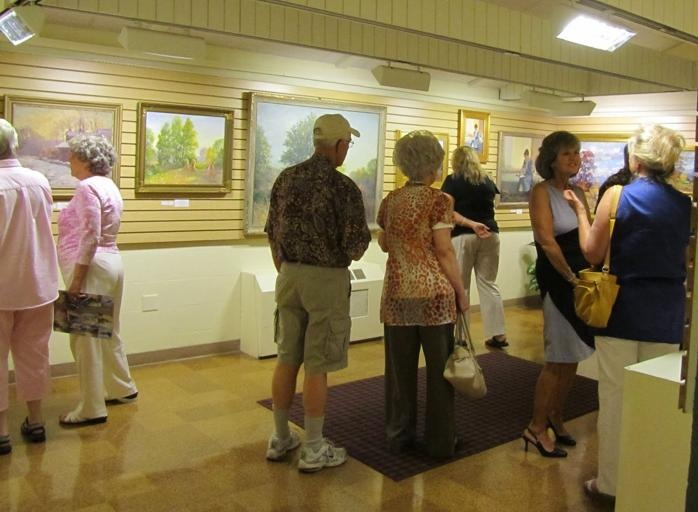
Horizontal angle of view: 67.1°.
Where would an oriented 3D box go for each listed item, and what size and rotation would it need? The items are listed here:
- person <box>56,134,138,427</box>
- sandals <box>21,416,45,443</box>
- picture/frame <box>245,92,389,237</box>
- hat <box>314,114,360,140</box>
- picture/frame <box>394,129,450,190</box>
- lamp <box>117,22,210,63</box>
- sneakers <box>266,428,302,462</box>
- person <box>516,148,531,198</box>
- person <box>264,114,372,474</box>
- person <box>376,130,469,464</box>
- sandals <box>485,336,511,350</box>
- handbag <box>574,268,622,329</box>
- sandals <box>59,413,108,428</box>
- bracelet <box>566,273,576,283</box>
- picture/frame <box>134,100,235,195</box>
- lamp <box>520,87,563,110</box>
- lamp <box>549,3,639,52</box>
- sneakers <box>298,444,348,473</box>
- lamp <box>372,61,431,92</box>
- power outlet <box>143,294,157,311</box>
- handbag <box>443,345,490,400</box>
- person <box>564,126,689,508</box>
[{"bbox_3d":[-1.973,0.170,4.028,0.504,2.168,0.532,-1,7,-15],"label":"person"},{"bbox_3d":[-2.251,1.226,3.730,0.099,0.113,0.268,1,4,-31],"label":"sandals"},{"bbox_3d":[-0.377,-1.022,5.968,1.652,1.557,0.050,0,3,-19],"label":"picture/frame"},{"bbox_3d":[-0.073,-0.813,3.397,0.233,0.121,0.175,-11,23,-25],"label":"hat"},{"bbox_3d":[0.993,-1.341,6.908,0.608,0.753,0.039,4,-33,6],"label":"picture/frame"},{"bbox_3d":[-1.606,-1.833,4.550,0.648,0.189,0.094,-3,8,-27],"label":"lamp"},{"bbox_3d":[-0.454,1.282,3.637,0.107,0.136,0.283,1,7,24],"label":"sneakers"},{"bbox_3d":[2.746,-1.269,8.165,0.221,0.747,0.225,2,33,18],"label":"person"},{"bbox_3d":[-0.225,0.235,3.424,0.691,2.284,0.387,1,6,-2],"label":"person"},{"bbox_3d":[0.451,0.445,3.574,0.626,1.834,0.279,6,8,37],"label":"person"},{"bbox_3d":[1.696,0.996,6.050,0.127,0.110,0.241,-4,8,-43],"label":"sandals"},{"bbox_3d":[1.417,0.244,3.037,0.212,0.339,0.257,7,8,19],"label":"handbag"},{"bbox_3d":[-2.028,1.250,3.980,0.286,0.084,0.125,5,-6,-14],"label":"sandals"},{"bbox_3d":[1.453,0.144,3.451,0.056,0.058,0.056,-2,-3,-29],"label":"bracelet"},{"bbox_3d":[-1.656,-1.056,5.253,0.922,0.869,0.070,-5,24,-34],"label":"picture/frame"},{"bbox_3d":[2.556,-2.074,6.976,0.753,0.238,0.217,-5,9,-36],"label":"lamp"},{"bbox_3d":[2.120,-1.946,4.555,0.803,0.184,0.235,-4,9,-29],"label":"lamp"},{"bbox_3d":[-0.187,1.310,3.509,0.344,0.180,0.137,-3,2,-35],"label":"sneakers"},{"bbox_3d":[0.565,-1.989,5.820,0.658,0.258,0.155,-2,8,-22],"label":"lamp"},{"bbox_3d":[-2.004,0.455,5.232,0.167,0.177,0.017,-2,2,-43],"label":"power outlet"},{"bbox_3d":[0.747,0.761,3.448,0.269,0.340,0.150,2,7,12],"label":"handbag"},{"bbox_3d":[1.575,0.370,2.962,0.563,2.168,0.437,4,7,25],"label":"person"}]
